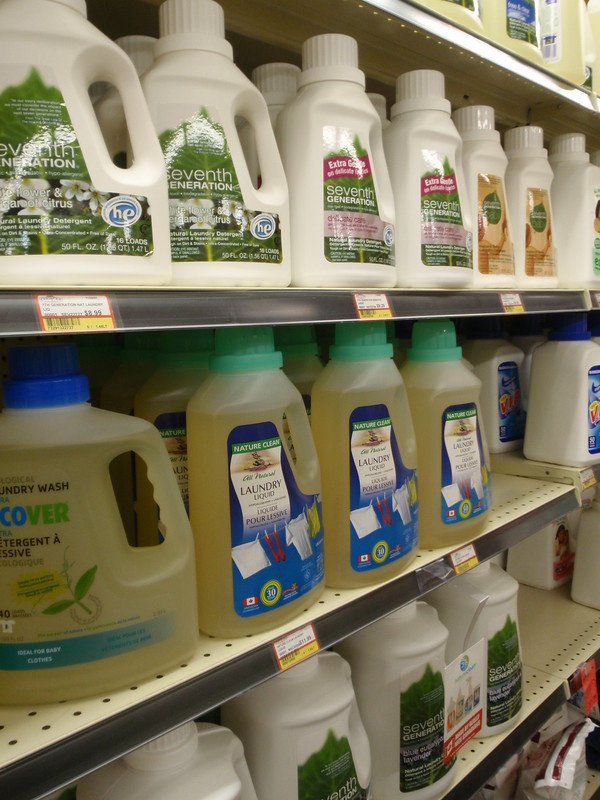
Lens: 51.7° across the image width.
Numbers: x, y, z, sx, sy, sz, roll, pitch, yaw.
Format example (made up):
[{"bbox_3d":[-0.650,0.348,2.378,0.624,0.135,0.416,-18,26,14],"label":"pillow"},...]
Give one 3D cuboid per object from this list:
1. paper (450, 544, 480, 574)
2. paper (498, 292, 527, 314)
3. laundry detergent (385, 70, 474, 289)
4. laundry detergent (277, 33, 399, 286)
[{"bbox_3d":[0.281,0.274,1.074,0.052,0.049,0.012,-12,-11,-39],"label":"paper"},{"bbox_3d":[0.379,-0.172,1.103,0.047,0.046,0.011,-3,-6,-37],"label":"paper"},{"bbox_3d":[0.203,-0.351,0.991,0.130,0.343,0.124,-7,10,8],"label":"laundry detergent"},{"bbox_3d":[0.043,-0.312,0.823,0.139,0.335,0.110,-7,10,8],"label":"laundry detergent"}]
